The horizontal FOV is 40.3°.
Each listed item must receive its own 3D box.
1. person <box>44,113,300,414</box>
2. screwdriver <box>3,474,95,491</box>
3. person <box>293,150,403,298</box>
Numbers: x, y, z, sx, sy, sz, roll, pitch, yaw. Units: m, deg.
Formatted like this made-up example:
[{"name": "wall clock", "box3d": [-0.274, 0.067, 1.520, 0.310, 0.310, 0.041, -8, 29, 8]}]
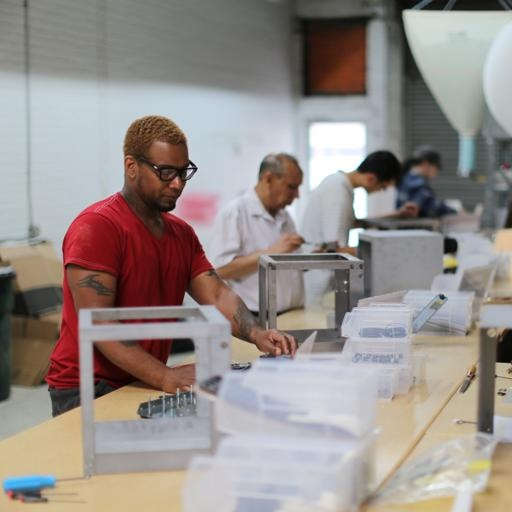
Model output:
[{"name": "person", "box3d": [-0.261, -0.007, 1.825, 0.443, 1.093, 0.418, 0, 13, -43]}, {"name": "screwdriver", "box3d": [-0.372, 0.377, 1.203, 0.091, 0.060, 0.073, 1, 10, -8]}, {"name": "person", "box3d": [0.398, -0.024, 3.321, 0.356, 0.940, 0.404, 16, 17, 23]}]
